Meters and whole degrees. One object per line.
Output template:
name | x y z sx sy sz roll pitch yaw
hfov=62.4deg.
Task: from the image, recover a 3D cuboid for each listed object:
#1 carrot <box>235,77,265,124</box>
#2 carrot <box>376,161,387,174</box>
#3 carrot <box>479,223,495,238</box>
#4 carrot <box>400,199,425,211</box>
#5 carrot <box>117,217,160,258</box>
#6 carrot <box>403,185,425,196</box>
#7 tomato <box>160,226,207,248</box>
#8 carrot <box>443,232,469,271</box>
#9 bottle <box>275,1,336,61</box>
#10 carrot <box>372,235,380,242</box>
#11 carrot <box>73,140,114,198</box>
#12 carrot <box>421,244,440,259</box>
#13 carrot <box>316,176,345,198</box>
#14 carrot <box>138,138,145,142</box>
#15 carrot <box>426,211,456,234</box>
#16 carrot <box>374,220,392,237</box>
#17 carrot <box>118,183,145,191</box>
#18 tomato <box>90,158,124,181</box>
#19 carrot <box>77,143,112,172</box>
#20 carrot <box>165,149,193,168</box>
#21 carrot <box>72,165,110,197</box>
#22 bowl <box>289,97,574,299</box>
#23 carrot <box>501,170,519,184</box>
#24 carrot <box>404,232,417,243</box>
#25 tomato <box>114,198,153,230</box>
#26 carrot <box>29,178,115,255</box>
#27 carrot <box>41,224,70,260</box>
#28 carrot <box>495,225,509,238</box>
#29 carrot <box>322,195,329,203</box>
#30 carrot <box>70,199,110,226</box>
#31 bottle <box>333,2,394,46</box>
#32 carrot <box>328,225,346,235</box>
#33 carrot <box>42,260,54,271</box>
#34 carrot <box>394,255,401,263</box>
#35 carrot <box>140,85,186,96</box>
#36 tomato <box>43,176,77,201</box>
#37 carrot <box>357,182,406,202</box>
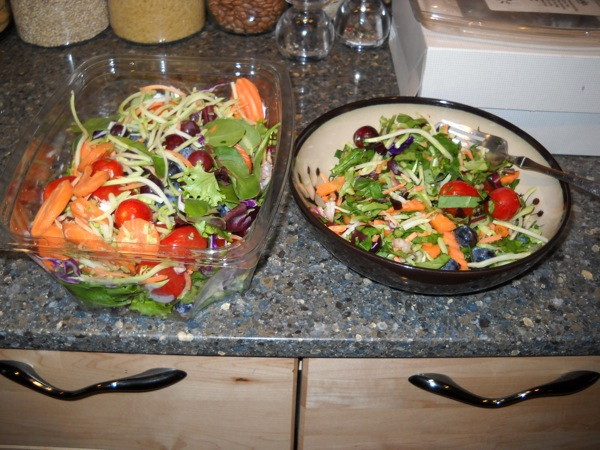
carrot | -0.087 -0.215 0.867 0.048 0.026 0.085 -17 76 -22
carrot | 0.147 -0.102 0.891 0.024 0.010 0.020 10 94 7
carrot | 0.313 0.008 0.818 0.023 0.006 0.020 25 88 9
carrot | 0.191 -0.032 0.841 0.030 0.010 0.018 -4 97 4
carrot | -0.224 0.018 0.685 0.061 0.043 0.095 -3 25 -6
carrot | 0.201 -0.064 0.870 0.047 0.012 0.013 -26 86 -33
tomato | -0.162 0.018 0.704 0.047 0.032 0.023 -2 83 -22
carrot | 0.247 0.037 0.791 0.020 0.022 0.080 4 50 -27
bottle | 0.024 -0.468 1.248 0.153 0.132 0.138 16 54 14
carrot | 0.119 0.022 0.789 0.007 0.003 0.011 10 59 24
carrot | -0.315 -0.082 0.747 0.061 0.023 0.089 -20 57 26
carrot | 0.212 0.043 0.793 0.023 0.008 0.017 26 59 23
carrot | 0.053 -0.065 0.860 0.049 0.013 0.023 -32 95 -22
carrot | -0.258 -0.137 0.807 0.010 0.003 0.012 -1 21 -16
carrot | 0.235 -0.004 0.813 0.032 0.014 0.044 -31 64 -18
carrot | 0.139 0.007 0.828 0.029 0.011 0.025 9 72 -15
carrot | -0.254 -0.057 0.743 0.041 0.005 0.005 -10 92 -10
tomato | -0.291 -0.085 0.748 0.038 0.035 0.032 8 75 -17
carrot | -0.311 -0.103 0.767 0.045 0.043 0.014 -33 92 10
carrot | -0.183 -0.098 0.772 0.034 0.035 0.008 42 110 30
carrot | -0.310 -0.065 0.734 0.045 0.018 0.057 14 60 7
bowl | 0.217 -0.064 0.855 0.421 0.150 0.403 3 44 -2
carrot | 0.367 -0.082 0.866 0.032 0.010 0.016 -29 86 15
carrot | 0.182 0.021 0.808 0.014 0.015 0.004 -49 113 -18
tomato | -0.245 -0.022 0.739 0.051 0.041 0.045 -7 32 -28
carrot | -0.315 0.002 0.706 0.125 0.030 0.106 8 69 -2
carrot | -0.334 0.023 0.707 0.046 0.045 0.022 -1 14 32
carrot | 0.340 0.011 0.820 0.016 0.008 0.019 -8 51 13
carrot | 0.044 -0.044 0.860 0.012 0.011 0.003 6 21 14
carrot | -0.304 -0.018 0.714 0.059 0.017 0.028 31 76 -8
bottle | 0.163 -0.512 1.262 0.144 0.077 0.128 7 60 3
carrot | 0.063 0.008 0.813 0.026 0.008 0.015 3 60 1
carrot | -0.358 0.058 0.706 0.016 0.020 0.006 35 68 17
carrot | 0.154 0.054 0.771 0.011 0.003 0.008 8 60 -24
carrot | -0.245 -0.238 0.886 0.116 0.019 0.019 6 106 11
tomato | -0.367 -0.053 0.755 0.024 0.045 0.034 34 62 -34
carrot | 0.139 -0.055 0.852 0.085 0.009 0.010 -19 78 -19
